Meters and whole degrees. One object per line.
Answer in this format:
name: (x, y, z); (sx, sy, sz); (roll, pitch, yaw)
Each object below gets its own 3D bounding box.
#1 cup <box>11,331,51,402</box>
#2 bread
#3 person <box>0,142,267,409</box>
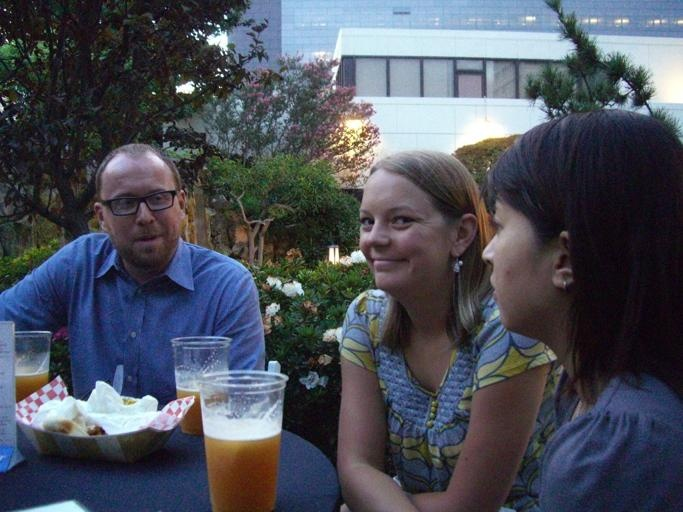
cup: (-1.094, 0.378, 2.254); (0.116, 0.239, 0.195); (-2, 8, -6)
bread: (-0.745, 0.485, 1.982); (0.211, 0.084, 0.231); (2, -5, 4)
person: (-0.861, 0.126, 3.202); (1.588, 1.470, 0.963); (1, -9, -7)
